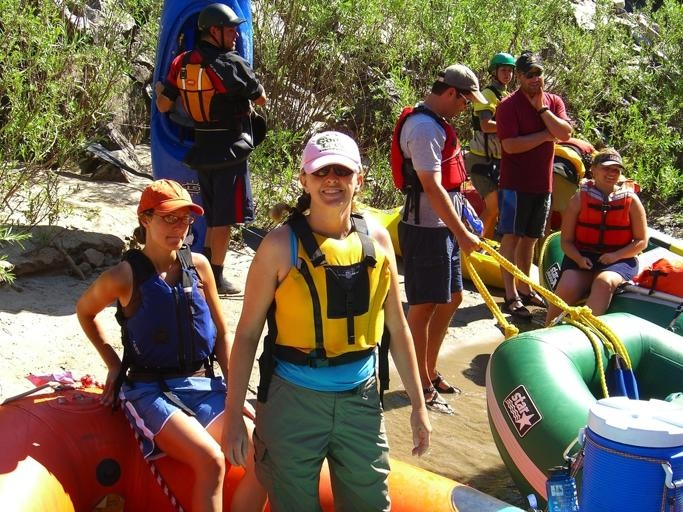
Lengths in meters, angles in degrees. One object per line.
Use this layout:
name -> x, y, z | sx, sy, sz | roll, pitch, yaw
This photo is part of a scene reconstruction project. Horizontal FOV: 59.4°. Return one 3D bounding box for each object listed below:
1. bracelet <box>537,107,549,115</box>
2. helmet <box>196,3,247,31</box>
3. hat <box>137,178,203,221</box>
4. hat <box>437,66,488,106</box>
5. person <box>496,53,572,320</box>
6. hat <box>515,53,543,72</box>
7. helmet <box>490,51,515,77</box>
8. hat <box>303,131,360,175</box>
bracelet -> 2.016, -1.457, 5.970 | 0.104, 0.083, 0.066 | 2, 8, -16
helmet -> -1.022, -1.961, 4.957 | 0.274, 0.166, 0.216 | -5, 16, -13
hat -> -0.984, -0.328, 3.348 | 0.258, 0.189, 0.333 | -8, 3, -42
hat -> 0.907, -1.262, 4.386 | 0.366, 0.208, 0.247 | 24, 12, -21
person -> 1.944, -0.739, 6.253 | 0.672, 2.685, 0.605 | -2, 5, -4
hat -> 1.881, -1.942, 6.007 | 0.241, 0.237, 0.250 | 8, 9, 21
helmet -> 2.015, -2.438, 7.582 | 0.226, 0.269, 0.313 | -2, 7, -22
hat -> -0.064, -0.472, 2.748 | 0.257, 0.204, 0.367 | -1, 5, 2
